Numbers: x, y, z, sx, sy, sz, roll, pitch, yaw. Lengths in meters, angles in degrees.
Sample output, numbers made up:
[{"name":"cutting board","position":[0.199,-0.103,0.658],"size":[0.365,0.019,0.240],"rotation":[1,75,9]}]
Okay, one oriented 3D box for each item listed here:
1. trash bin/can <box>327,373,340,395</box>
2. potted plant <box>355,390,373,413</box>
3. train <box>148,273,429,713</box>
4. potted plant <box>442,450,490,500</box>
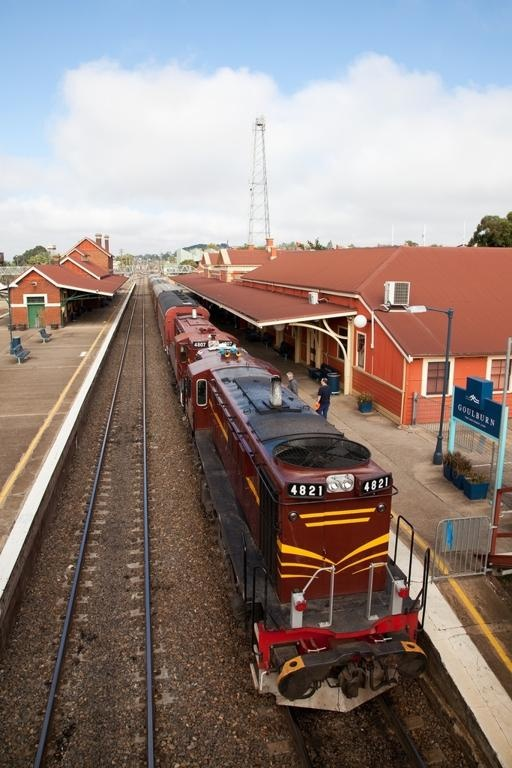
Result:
[{"name":"trash bin/can","position":[2.924,-0.027,20.701],"size":[0.626,0.910,0.648],"rotation":[-2,14,1]},{"name":"potted plant","position":[3.759,0.545,18.945],"size":[0.673,0.731,0.566],"rotation":[-3,14,-7]},{"name":"train","position":[-0.220,0.596,10.579],"size":[1.853,2.731,11.170],"rotation":[-5,22,-13]},{"name":"potted plant","position":[4.687,1.995,12.132],"size":[0.504,0.707,1.245],"rotation":[-3,12,-7]}]
